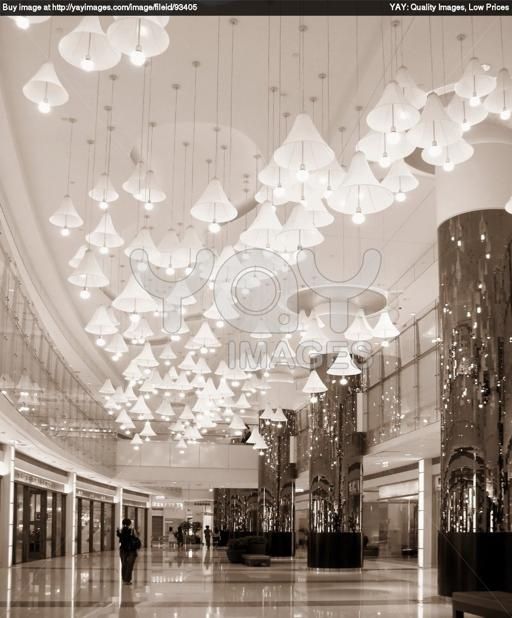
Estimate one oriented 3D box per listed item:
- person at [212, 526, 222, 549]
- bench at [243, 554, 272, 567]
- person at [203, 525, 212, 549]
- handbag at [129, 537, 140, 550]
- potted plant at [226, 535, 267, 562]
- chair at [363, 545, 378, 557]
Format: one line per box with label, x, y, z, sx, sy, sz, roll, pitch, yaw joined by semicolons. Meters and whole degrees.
person;-2.067;12.117;37.765;0.492;1.001;0.559;2;-19;-6
bench;0.029;7.168;20.265;0.650;0.381;1.353;2;-24;-5
person;-2.558;12.093;37.848;0.423;1.336;1.650;1;-22;-4
handbag;-2.157;4.240;12.842;0.227;0.288;0.070;-15;-11;38
potted plant;-0.305;7.503;22.299;0.783;0.669;0.936;3;-20;-15
chair;4.388;9.228;27.066;0.553;0.506;0.901;-4;-23;9
